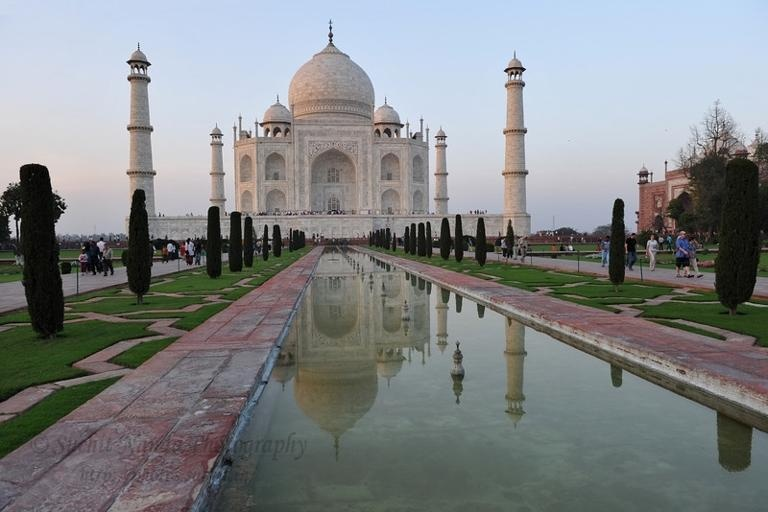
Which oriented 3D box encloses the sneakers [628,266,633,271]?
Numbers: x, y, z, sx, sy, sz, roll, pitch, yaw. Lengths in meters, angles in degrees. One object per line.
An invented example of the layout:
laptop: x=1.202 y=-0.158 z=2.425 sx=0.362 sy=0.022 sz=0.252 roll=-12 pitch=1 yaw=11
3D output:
sneakers: x=5.875 y=0.307 z=15.653 sx=0.079 sy=0.091 sz=0.223 roll=-5 pitch=-6 yaw=7

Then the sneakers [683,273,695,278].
sneakers: x=6.478 y=0.425 z=13.994 sx=0.216 sy=0.082 sz=0.069 roll=-4 pitch=7 yaw=-19

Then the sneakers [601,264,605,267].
sneakers: x=5.778 y=0.252 z=17.331 sx=0.096 sy=0.108 sz=0.268 roll=1 pitch=3 yaw=11
